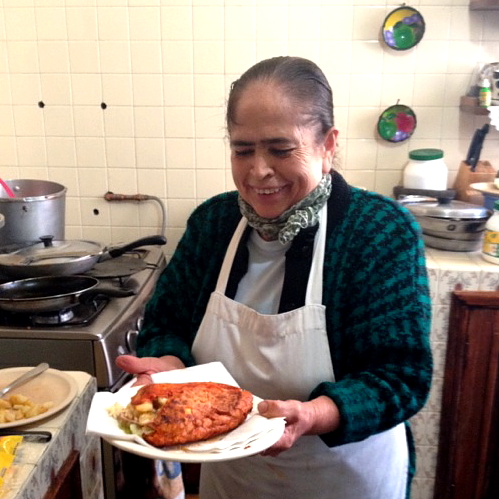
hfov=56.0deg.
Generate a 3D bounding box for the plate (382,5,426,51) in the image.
[{"bbox_3d":[0.664,-0.943,1.955,0.209,0.168,0.062,1,2,0],"label":"plate"}]

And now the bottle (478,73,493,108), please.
[{"bbox_3d":[0.998,-0.658,1.982,0.060,0.136,0.081,8,13,21],"label":"bottle"}]

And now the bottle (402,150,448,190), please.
[{"bbox_3d":[0.768,-0.342,2.025,0.170,0.178,0.203,-5,15,2],"label":"bottle"}]

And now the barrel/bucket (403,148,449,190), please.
[{"bbox_3d":[0.769,-0.340,2.027,0.172,0.190,0.208,-9,14,-12],"label":"barrel/bucket"}]

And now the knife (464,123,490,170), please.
[{"bbox_3d":[1.011,-0.450,2.080,0.066,0.256,0.072,19,23,20],"label":"knife"}]
